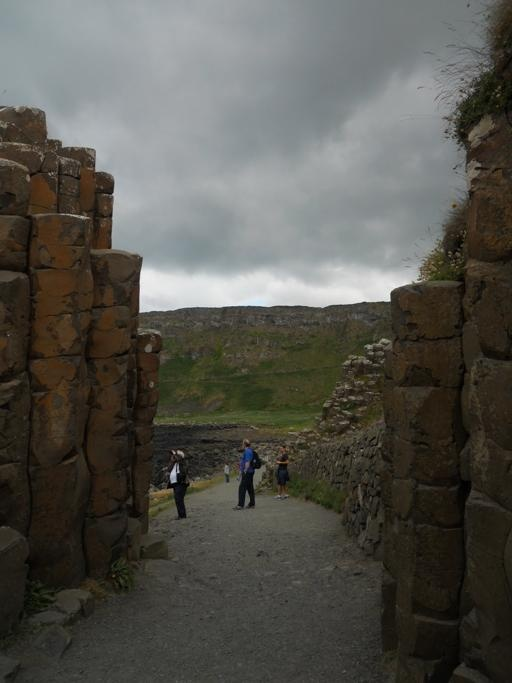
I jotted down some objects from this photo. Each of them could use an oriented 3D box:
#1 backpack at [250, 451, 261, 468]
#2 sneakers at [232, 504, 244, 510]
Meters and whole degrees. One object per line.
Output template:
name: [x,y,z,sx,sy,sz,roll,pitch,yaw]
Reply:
backpack: [-0.016,3.560,15.516,0.237,0.643,0.857,0,-4,6]
sneakers: [-0.546,5.074,15.900,0.374,0.165,0.122,-2,-2,6]
